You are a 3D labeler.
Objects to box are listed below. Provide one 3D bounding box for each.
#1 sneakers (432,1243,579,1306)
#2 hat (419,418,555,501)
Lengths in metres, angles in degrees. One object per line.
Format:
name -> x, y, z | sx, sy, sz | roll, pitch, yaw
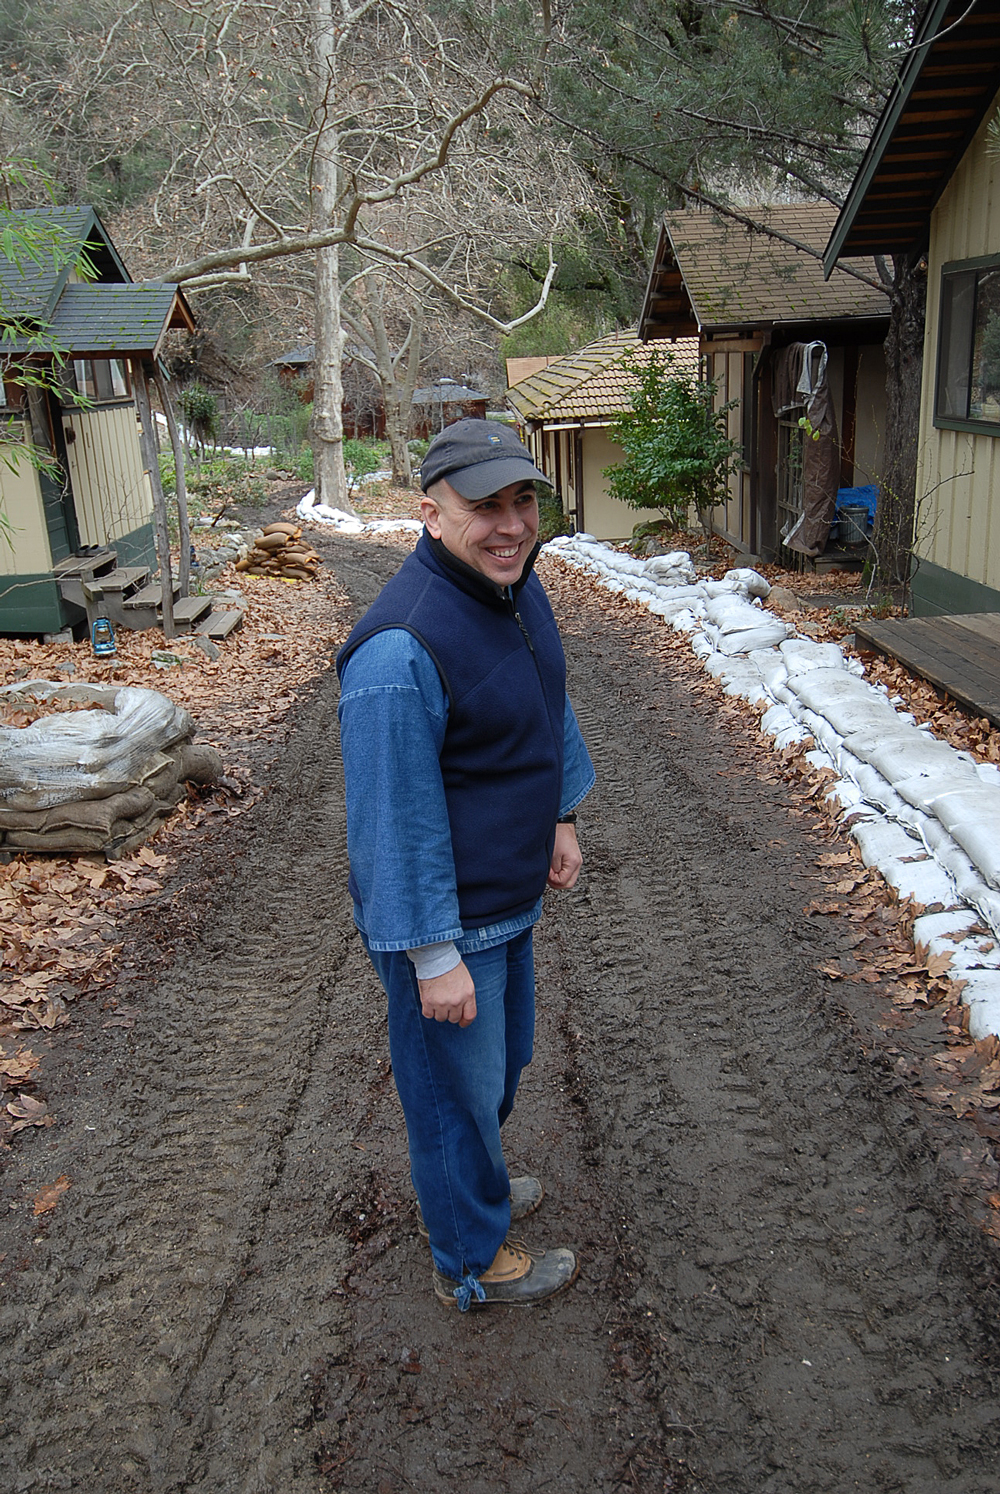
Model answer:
sneakers -> 0.025, 1.156, 2.313 | 0.267, 0.115, 0.137 | -9, 12, -13
hat -> -0.038, -0.503, 1.825 | 0.143, 0.103, 0.201 | -17, 23, -31
